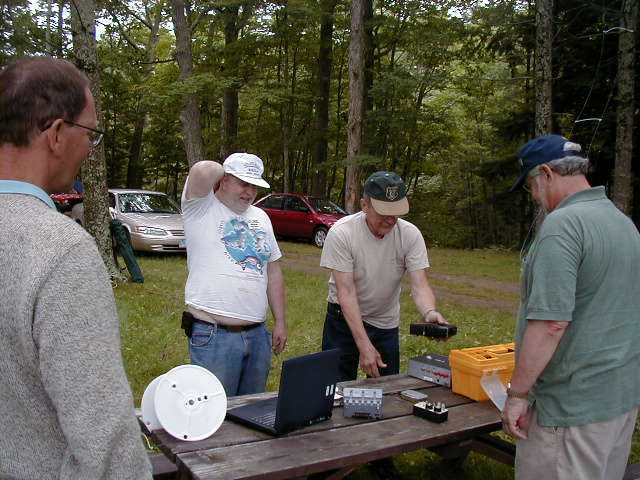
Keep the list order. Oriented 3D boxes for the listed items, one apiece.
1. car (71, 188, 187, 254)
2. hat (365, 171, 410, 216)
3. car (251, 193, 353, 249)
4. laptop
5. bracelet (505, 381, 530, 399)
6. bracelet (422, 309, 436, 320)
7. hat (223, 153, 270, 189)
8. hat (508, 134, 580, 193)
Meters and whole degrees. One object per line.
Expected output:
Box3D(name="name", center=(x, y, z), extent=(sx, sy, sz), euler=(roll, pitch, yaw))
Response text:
Box3D(name="car", center=(-3.092, -0.298, 9.503), extent=(1.073, 0.848, 2.301), euler=(0, 6, -41))
Box3D(name="hat", center=(0.447, -0.307, 3.885), extent=(0.295, 0.306, 0.268), euler=(1, 6, 4))
Box3D(name="car", center=(-0.484, -0.599, 16.363), extent=(2.677, 1.256, 1.295), euler=(2, 3, 38))
Box3D(name="laptop", center=(-0.193, 0.715, 2.921), extent=(0.330, 0.464, 0.441), euler=(21, 14, 34))
Box3D(name="bracelet", center=(0.927, 0.708, 2.709), extent=(0.068, 0.037, 0.095), euler=(3, 0, -11))
Box3D(name="bracelet", center=(0.714, 0.484, 3.734), extent=(0.066, 0.063, 0.070), euler=(-11, 3, -43))
Box3D(name="hat", center=(-0.448, -0.454, 3.734), extent=(0.258, 0.187, 0.341), euler=(1, 1, -27))
Box3D(name="hat", center=(1.093, -0.403, 2.946), extent=(0.332, 0.176, 0.251), euler=(-27, -14, 29))
